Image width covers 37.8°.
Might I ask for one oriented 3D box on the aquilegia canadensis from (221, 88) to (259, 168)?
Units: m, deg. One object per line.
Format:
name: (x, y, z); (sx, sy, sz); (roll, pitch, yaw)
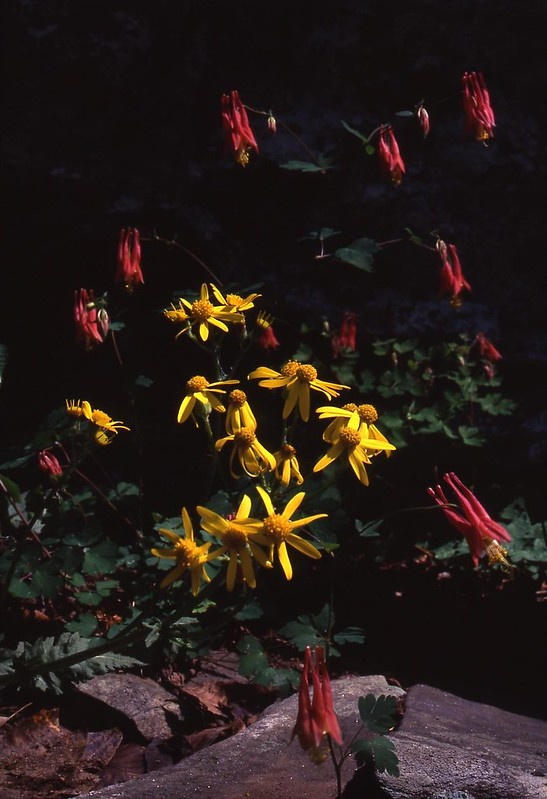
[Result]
aquilegia canadensis: (-0.163, -1.311, 3.860); (0.118, 0.377, 0.229); (-1, -3, 41)

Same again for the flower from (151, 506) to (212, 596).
flower: (-0.333, 0.528, 2.785); (0.208, 0.307, 0.292); (2, -2, -13)
